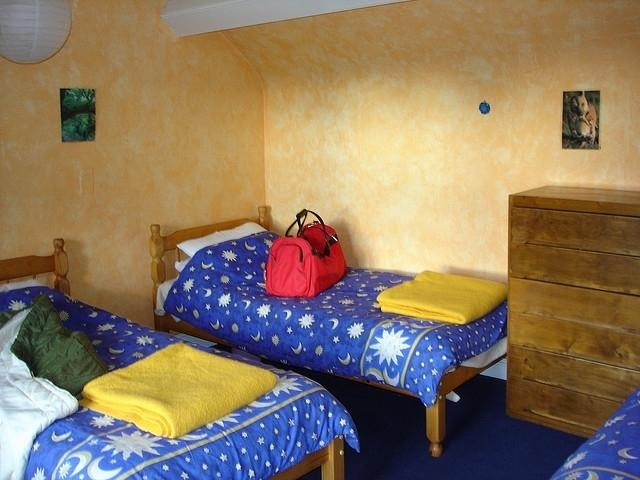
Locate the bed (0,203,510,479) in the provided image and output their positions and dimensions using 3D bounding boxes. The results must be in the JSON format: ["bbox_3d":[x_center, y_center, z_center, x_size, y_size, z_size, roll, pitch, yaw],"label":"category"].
[{"bbox_3d":[-0.415,0.533,3.615,2.821,1.283,2.308,7,11,37],"label":"bed"}]

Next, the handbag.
[{"bbox_3d":[-0.069,0.077,4.056,0.462,0.686,0.720,-3,13,20],"label":"handbag"}]
